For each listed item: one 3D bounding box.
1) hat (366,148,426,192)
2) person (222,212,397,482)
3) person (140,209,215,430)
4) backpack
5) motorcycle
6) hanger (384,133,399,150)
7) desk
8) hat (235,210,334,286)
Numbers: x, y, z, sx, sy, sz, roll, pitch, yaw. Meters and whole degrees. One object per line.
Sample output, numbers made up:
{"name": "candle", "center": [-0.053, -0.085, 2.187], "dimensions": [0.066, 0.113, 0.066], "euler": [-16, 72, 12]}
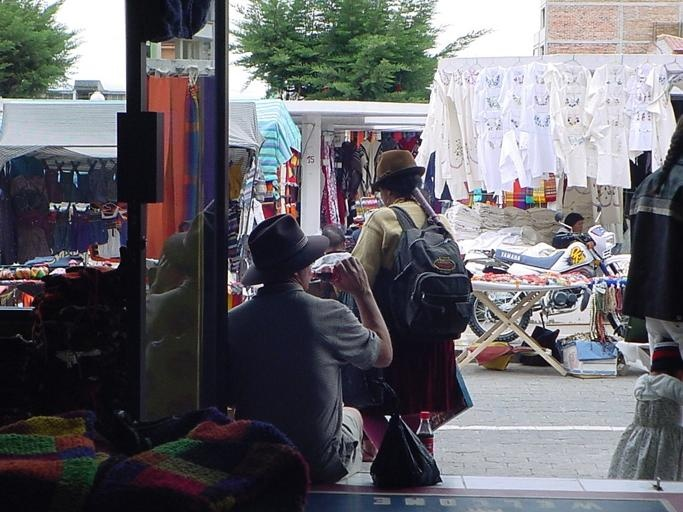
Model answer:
{"name": "hat", "center": [0.332, -0.523, 5.260], "dimensions": [0.280, 0.110, 0.238], "euler": [-23, -8, 32]}
{"name": "person", "center": [-0.171, 0.462, 4.217], "dimensions": [0.873, 1.334, 0.572], "euler": [-3, 5, -14]}
{"name": "person", "center": [-0.814, 0.273, 4.083], "dimensions": [0.369, 1.009, 0.266], "euler": [-3, 5, -17]}
{"name": "backpack", "center": [0.535, 0.115, 4.979], "dimensions": [0.505, 0.813, 0.377], "euler": [-1, 5, 2]}
{"name": "motorcycle", "center": [2.487, 0.254, 9.575], "dimensions": [2.425, 1.559, 1.319], "euler": [-3, 3, 14]}
{"name": "hanger", "center": [0.751, -1.769, 12.608], "dimensions": [0.228, 0.256, 0.165], "euler": [3, 7, 41]}
{"name": "desk", "center": [1.975, 0.717, 8.908], "dimensions": [1.153, 0.741, 1.089], "euler": [-2, 5, 1]}
{"name": "hat", "center": [-0.292, -0.049, 4.257], "dimensions": [0.393, 0.167, 0.366], "euler": [-33, 26, -23]}
